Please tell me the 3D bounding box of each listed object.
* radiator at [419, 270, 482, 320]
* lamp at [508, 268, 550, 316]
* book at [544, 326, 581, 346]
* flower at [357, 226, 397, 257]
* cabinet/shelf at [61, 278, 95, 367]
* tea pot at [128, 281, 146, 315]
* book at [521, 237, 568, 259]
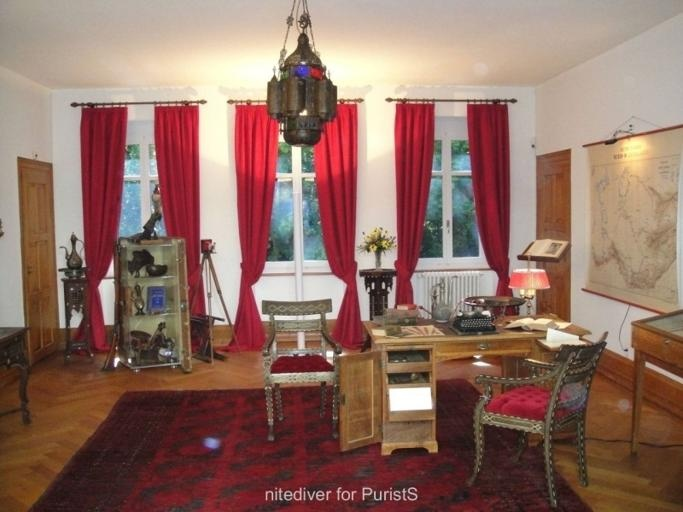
[{"bbox_3d":[1.365,0.496,7.370,0.664,0.627,0.097,0,0,-4],"label":"radiator"},{"bbox_3d":[1.902,0.368,5.810,0.386,0.464,0.316,-7,12,-29],"label":"lamp"},{"bbox_3d":[1.969,0.713,5.085,0.220,0.077,0.167,2,6,6],"label":"book"},{"bbox_3d":[0.509,-0.221,8.244,0.433,0.395,0.419,3,6,26],"label":"flower"},{"bbox_3d":[-3.699,0.833,7.987,0.356,1.150,0.767,-6,11,-25],"label":"cabinet/shelf"},{"bbox_3d":[-2.563,0.541,7.194,0.158,0.401,0.090,-3,10,-12],"label":"tea pot"},{"bbox_3d":[2.154,-0.063,6.019,0.447,0.201,0.380,5,12,27],"label":"book"}]
